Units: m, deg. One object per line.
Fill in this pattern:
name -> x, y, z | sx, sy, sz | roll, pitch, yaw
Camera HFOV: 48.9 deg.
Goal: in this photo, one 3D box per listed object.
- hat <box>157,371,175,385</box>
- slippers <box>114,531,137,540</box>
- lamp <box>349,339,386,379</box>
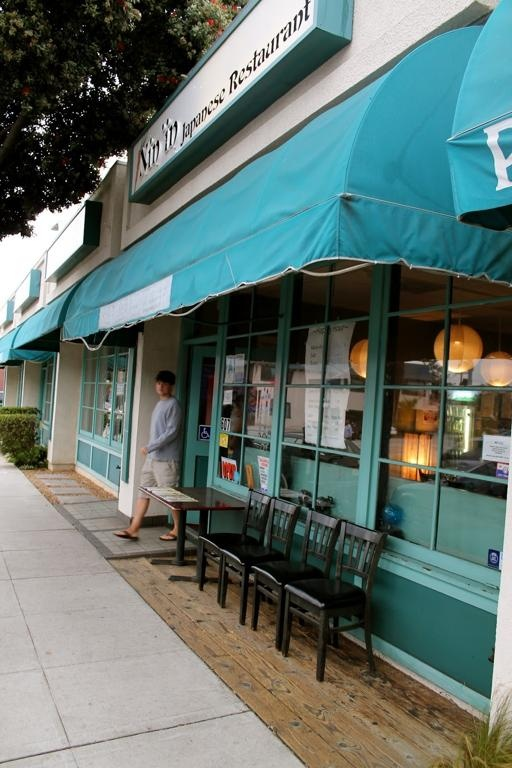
hat -> -0.974, -0.071, 6.154 | 0.167, 0.144, 0.126 | 13, -3, 1
slippers -> -1.376, 1.622, 6.080 | 0.257, 0.096, 0.103 | 16, -18, -22
lamp -> 0.755, -0.174, 3.791 | 0.238, 0.288, 0.239 | 5, 1, -41
